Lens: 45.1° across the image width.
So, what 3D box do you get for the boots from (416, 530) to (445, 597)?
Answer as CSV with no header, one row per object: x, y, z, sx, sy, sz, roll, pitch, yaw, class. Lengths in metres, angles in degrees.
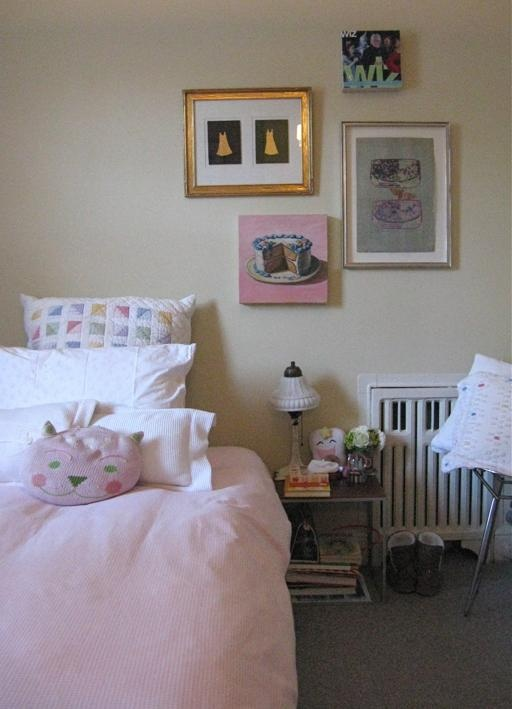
0.624,0.769,2.251,0.112,0.179,0.185,5,16,7,boots

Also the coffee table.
0.303,0.697,2.319,0.518,0.474,0.375,0,27,1,coffee table

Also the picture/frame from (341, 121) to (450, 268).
0.532,-0.642,2.383,0.573,0.718,0.032,0,2,-3,picture/frame

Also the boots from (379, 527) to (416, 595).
0.538,0.771,2.297,0.120,0.182,0.197,-9,4,-9,boots

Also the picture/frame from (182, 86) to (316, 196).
-0.037,-0.828,2.356,0.419,0.345,0.035,-1,2,-2,picture/frame

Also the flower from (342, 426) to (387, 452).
0.404,0.313,2.316,0.106,0.078,0.110,-2,13,36,flower

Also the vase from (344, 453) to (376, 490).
0.382,0.422,2.291,0.098,0.128,0.120,0,-5,9,vase

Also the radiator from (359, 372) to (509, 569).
0.656,0.416,2.320,0.779,0.886,0.092,0,8,3,radiator
